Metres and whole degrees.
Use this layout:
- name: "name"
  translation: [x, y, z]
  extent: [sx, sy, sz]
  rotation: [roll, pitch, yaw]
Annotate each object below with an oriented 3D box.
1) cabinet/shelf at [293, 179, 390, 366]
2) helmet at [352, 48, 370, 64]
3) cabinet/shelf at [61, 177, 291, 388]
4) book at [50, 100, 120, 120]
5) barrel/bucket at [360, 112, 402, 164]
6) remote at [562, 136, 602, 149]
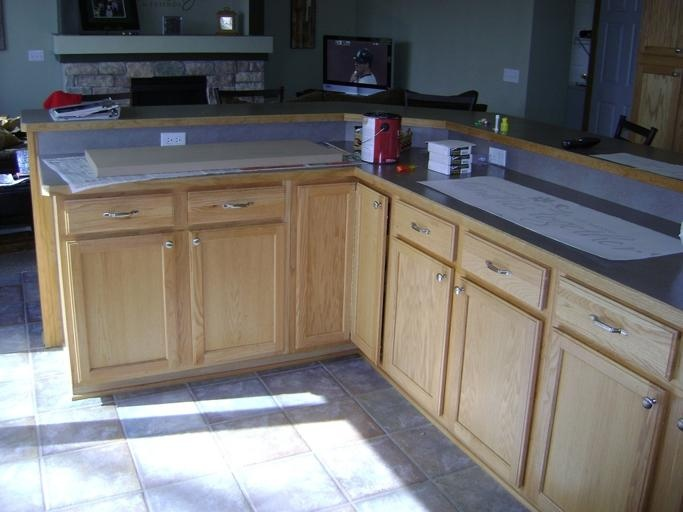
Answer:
- name: "cabinet/shelf"
  translation: [0.009, 0.081, 2.725]
  extent: [0.524, 0.935, 0.308]
  rotation: [5, 23, 21]
- name: "helmet"
  translation: [0.330, -3.194, 8.258]
  extent: [0.275, 0.153, 0.193]
  rotation: [25, 47, 2]
- name: "cabinet/shelf"
  translation: [-0.832, 0.094, 2.474]
  extent: [1.057, 0.854, 0.518]
  rotation: [-6, 18, -23]
- name: "book"
  translation: [-1.408, -0.782, 2.778]
  extent: [0.351, 0.092, 0.234]
  rotation: [-10, 21, -21]
- name: "barrel/bucket"
  translation: [0.131, -0.638, 2.763]
  extent: [0.278, 0.238, 0.267]
  rotation: [1, 19, 0]
- name: "remote"
  translation: [1.146, -0.543, 2.441]
  extent: [0.173, 0.040, 0.083]
  rotation: [-12, 25, -3]
